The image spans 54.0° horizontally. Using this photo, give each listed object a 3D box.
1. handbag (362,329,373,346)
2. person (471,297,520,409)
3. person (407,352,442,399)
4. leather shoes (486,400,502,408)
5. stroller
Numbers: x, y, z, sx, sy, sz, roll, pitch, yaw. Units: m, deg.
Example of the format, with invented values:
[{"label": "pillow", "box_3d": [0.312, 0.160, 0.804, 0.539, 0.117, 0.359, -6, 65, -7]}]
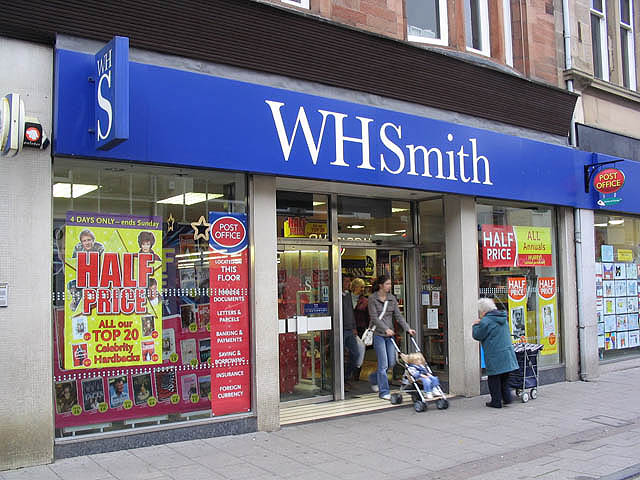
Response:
[{"label": "handbag", "box_3d": [0.832, 1.725, 11.034, 0.127, 0.257, 0.215, 27, -35, -6]}, {"label": "person", "box_3d": [2.923, 1.898, 10.548, 0.755, 1.272, 0.582, 1, 1, 1]}, {"label": "person", "box_3d": [1.722, 2.252, 10.342, 0.390, 0.828, 0.287, -14, -23, -33]}, {"label": "leather shoes", "box_3d": [2.904, 2.735, 10.449, 0.283, 0.085, 0.252, 1, 1, 7]}, {"label": "stroller", "box_3d": [1.579, 2.234, 10.662, 0.638, 1.097, 1.446, 4, 0, -23]}]
